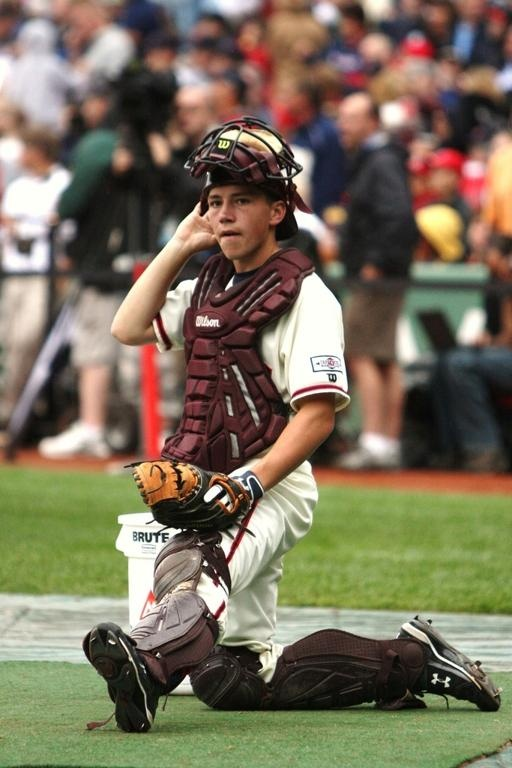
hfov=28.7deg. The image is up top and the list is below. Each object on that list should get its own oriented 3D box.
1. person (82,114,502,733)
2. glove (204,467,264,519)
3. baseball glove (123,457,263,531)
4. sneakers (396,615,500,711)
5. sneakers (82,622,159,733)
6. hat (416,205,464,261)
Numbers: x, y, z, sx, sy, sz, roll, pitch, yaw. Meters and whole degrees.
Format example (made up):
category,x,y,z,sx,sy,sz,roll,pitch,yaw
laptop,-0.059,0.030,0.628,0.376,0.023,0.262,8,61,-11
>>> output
category,x,y,z,sx,sy,sz,roll,pitch,yaw
person,-0.149,0.080,2.354,0.974,1.463,0.908,-4,8,-37
glove,-0.045,0.236,2.181,0.055,0.085,0.131,-40,-19,31
baseball glove,-0.132,0.247,2.213,0.300,0.176,0.178,-1,7,-23
sneakers,0.457,0.672,2.376,0.250,0.190,0.120,4,7,21
sneakers,-0.251,0.557,1.871,0.133,0.245,0.121,2,7,3
hat,0.964,-0.781,5.225,0.220,0.286,0.125,-10,17,-10
